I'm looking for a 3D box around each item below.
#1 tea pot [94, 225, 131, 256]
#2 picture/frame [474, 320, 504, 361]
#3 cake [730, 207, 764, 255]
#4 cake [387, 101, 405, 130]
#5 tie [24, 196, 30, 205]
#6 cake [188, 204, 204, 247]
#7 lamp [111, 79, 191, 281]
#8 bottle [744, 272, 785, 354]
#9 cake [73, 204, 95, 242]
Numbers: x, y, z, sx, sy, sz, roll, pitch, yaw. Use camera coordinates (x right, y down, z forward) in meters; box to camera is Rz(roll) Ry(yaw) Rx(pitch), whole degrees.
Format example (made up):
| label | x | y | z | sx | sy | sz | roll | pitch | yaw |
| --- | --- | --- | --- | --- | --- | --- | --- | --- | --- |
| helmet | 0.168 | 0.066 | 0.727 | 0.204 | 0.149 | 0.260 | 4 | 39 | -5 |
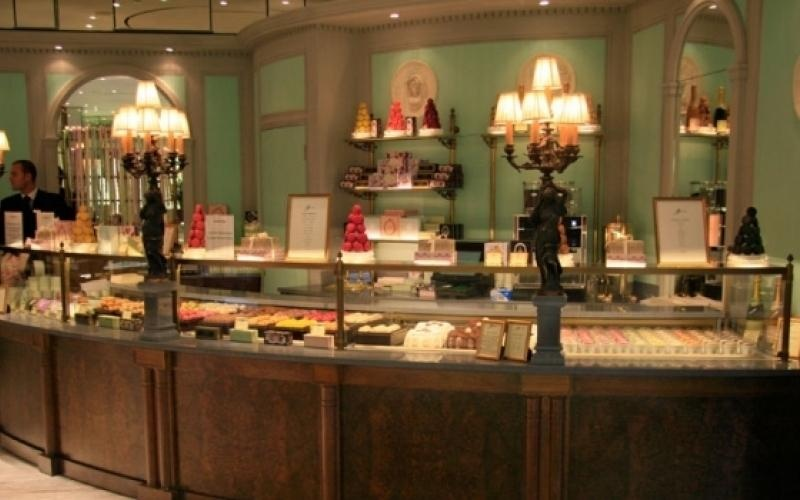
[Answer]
| label | x | y | z | sx | sy | sz | roll | pitch | yaw |
| --- | --- | --- | --- | --- | --- | --- | --- | --- | --- |
| tea pot | -2.579 | -0.094 | 6.445 | 0.280 | 0.253 | 0.268 | 2 | 4 | 0 |
| picture/frame | 0.710 | 0.664 | 5.401 | 0.225 | 0.271 | 0.230 | 0 | 4 | -42 |
| cake | 2.696 | -0.154 | 5.502 | 0.233 | 0.360 | 0.190 | -3 | 5 | -34 |
| cake | -0.039 | -1.713 | 9.042 | 0.244 | 0.367 | 0.140 | -2 | 4 | -15 |
| tie | -4.587 | -0.629 | 8.752 | 0.091 | 0.116 | 0.018 | 0 | 4 | 13 |
| cake | -1.783 | -0.212 | 6.218 | 0.137 | 0.358 | 0.260 | -2 | 4 | -19 |
| lamp | -2.201 | -0.627 | 6.378 | 0.760 | 1.681 | 0.799 | -2 | 2 | -41 |
| bottle | 2.755 | 0.484 | 5.382 | 0.249 | 0.585 | 0.058 | 1 | 4 | 21 |
| cake | -2.916 | -0.246 | 6.562 | 0.185 | 0.337 | 0.317 | -3 | 4 | -24 |
